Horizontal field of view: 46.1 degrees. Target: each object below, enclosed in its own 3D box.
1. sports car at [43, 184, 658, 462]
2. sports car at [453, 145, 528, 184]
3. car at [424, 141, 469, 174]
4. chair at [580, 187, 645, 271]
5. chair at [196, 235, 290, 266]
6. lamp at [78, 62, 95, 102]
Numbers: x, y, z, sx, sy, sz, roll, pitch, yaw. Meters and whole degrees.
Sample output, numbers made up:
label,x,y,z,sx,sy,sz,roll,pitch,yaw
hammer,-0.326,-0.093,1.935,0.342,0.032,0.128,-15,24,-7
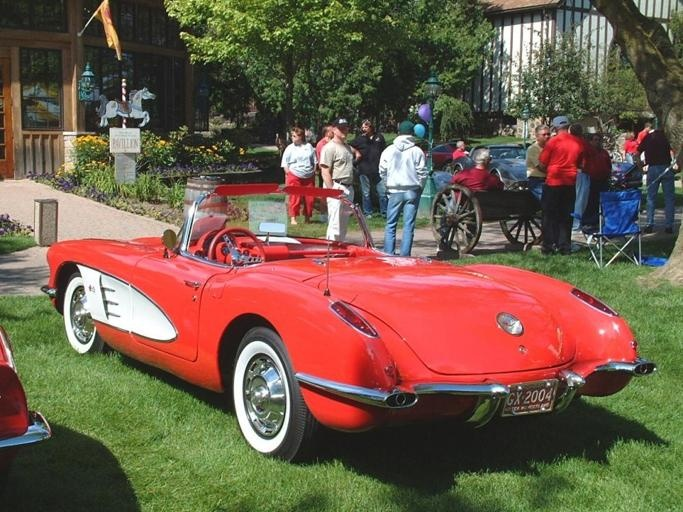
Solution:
label,x,y,z,sx,sy,sz,roll,pitch,yaw
sports car,-0.492,0.385,6.646,2.122,1.497,4.175,-1,11,-43
sports car,4.517,-2.614,22.168,1.451,1.102,2.987,-2,5,-21
car,3.858,-3.622,28.225,1.251,0.903,2.168,-7,12,-43
chair,4.195,-0.387,12.123,0.646,1.182,0.715,-2,-2,27
chair,-0.863,-0.084,6.814,0.464,0.223,0.353,13,9,37
lamp,-6.911,-4.745,21.880,0.457,1.020,1.693,-2,12,-18
